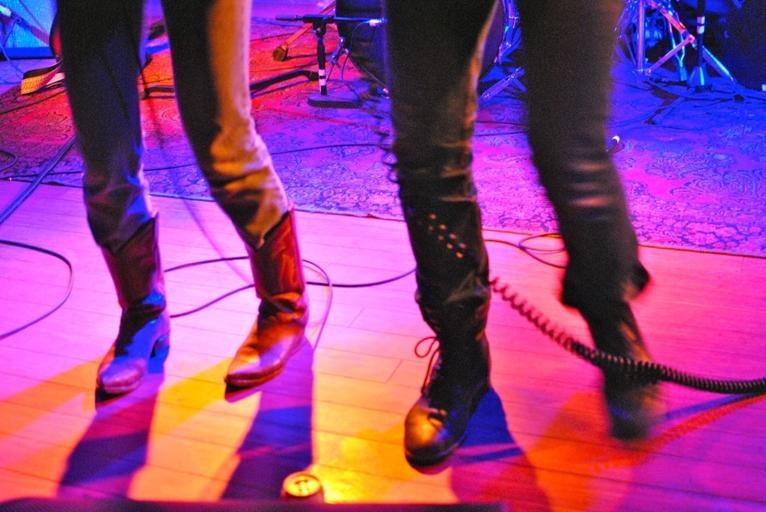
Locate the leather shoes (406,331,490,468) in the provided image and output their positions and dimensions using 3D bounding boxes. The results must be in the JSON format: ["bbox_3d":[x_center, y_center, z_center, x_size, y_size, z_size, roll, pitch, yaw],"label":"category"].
[{"bbox_3d":[0.181,0.347,1.502,0.141,0.246,0.414,11,30,32],"label":"leather shoes"}]
